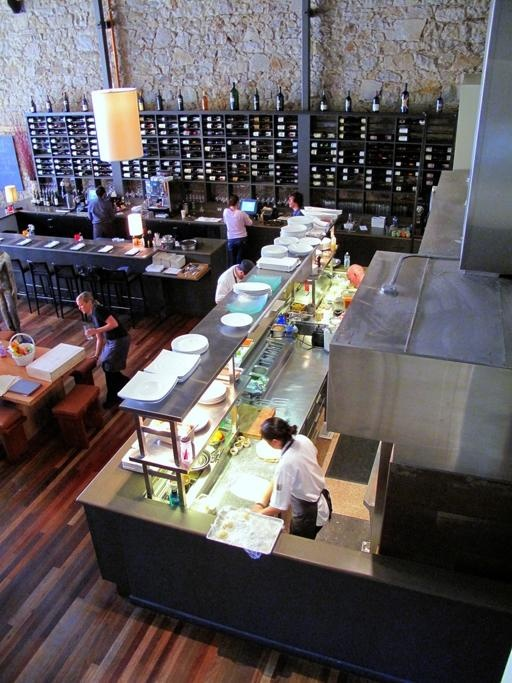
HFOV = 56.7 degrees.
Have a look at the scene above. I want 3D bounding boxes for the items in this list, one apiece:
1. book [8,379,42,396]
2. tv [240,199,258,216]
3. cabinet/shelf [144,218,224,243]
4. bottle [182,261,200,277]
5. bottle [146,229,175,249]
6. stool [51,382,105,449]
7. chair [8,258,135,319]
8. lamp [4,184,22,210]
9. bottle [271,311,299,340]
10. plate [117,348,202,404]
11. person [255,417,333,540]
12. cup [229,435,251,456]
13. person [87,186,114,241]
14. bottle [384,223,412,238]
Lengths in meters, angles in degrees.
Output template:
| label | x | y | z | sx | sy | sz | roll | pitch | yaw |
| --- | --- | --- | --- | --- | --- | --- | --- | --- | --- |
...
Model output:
| label | x | y | z | sx | sy | sz | roll | pitch | yaw |
| --- | --- | --- | --- | --- | --- | --- | --- | --- | --- |
| book | -2.260 | 0.453 | 4.655 | 0.268 | 0.074 | 0.192 | 7 | 25 | 21 |
| tv | -0.125 | -2.500 | 8.789 | 0.375 | 0.336 | 0.089 | 17 | 6 | 27 |
| cabinet/shelf | -1.249 | -2.019 | 8.628 | 0.893 | 0.468 | 0.249 | 5 | 47 | 5 |
| bottle | -0.988 | -1.087 | 7.218 | 0.236 | 0.062 | 0.229 | -3 | 48 | 3 |
| bottle | -1.616 | -1.669 | 7.831 | 0.550 | 0.249 | 0.330 | 15 | 33 | 28 |
| stool | -1.928 | 0.823 | 5.120 | 0.317 | 0.499 | 0.558 | 2 | 37 | 10 |
| chair | -2.923 | -0.871 | 7.692 | 1.355 | 0.601 | 0.323 | 9 | 44 | 9 |
| lamp | -5.183 | -3.050 | 10.065 | 0.270 | 0.452 | 0.465 | -14 | 25 | -23 |
| bottle | 0.318 | -0.165 | 5.028 | 0.224 | 0.293 | 0.308 | 2 | 17 | 6 |
| plate | -0.521 | 0.196 | 2.619 | 0.238 | 0.094 | 0.407 | 10 | 37 | 23 |
| person | 0.244 | 0.901 | 2.969 | 0.469 | 0.957 | 0.354 | -5 | 24 | -5 |
| cup | -0.135 | 0.806 | 3.666 | 0.101 | 0.042 | 0.137 | 23 | 36 | -6 |
| person | -2.777 | -2.313 | 8.583 | 0.425 | 0.874 | 0.319 | -11 | 25 | -16 |
| bottle | 2.373 | -1.844 | 8.013 | 0.410 | 0.179 | 0.279 | 2 | 23 | 11 |
